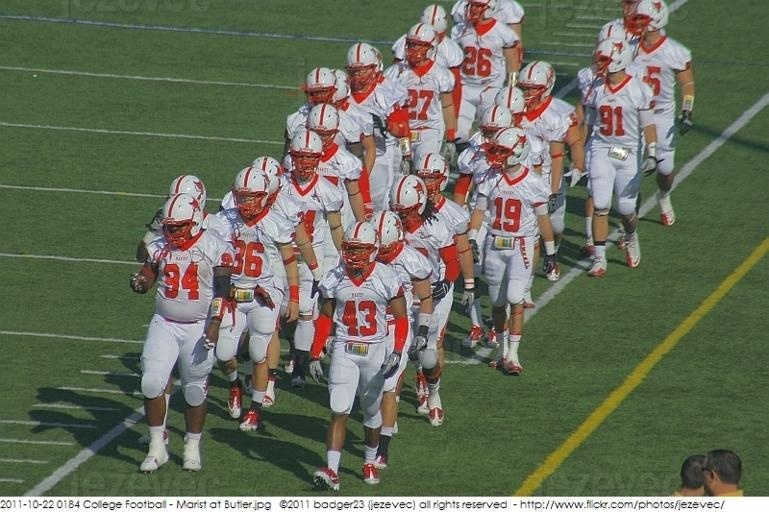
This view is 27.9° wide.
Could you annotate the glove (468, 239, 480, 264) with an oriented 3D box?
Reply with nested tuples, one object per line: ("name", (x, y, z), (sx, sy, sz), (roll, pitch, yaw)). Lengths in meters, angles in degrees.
("glove", (1.195, -0.051, 20.437), (0.113, 0.258, 0.210), (-7, 2, 4))

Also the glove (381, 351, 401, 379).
("glove", (0.081, 1.287, 18.319), (0.211, 0.306, 0.112), (29, 18, 16))

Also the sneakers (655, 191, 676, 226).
("sneakers", (4.294, -0.696, 23.552), (0.240, 0.555, 0.285), (-6, -8, 22))

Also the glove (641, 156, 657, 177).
("glove", (3.846, -1.284, 22.558), (0.210, 0.270, 0.278), (1, 41, -9))

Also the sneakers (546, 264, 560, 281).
("sneakers", (2.393, 0.249, 22.041), (0.253, 0.236, 0.163), (-11, 16, -32))

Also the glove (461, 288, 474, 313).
("glove", (1.094, 0.610, 20.294), (0.140, 0.419, 0.251), (8, 38, 0))

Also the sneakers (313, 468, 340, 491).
("sneakers", (-0.708, 2.616, 18.240), (0.174, 0.405, 0.197), (-28, 43, 20))
